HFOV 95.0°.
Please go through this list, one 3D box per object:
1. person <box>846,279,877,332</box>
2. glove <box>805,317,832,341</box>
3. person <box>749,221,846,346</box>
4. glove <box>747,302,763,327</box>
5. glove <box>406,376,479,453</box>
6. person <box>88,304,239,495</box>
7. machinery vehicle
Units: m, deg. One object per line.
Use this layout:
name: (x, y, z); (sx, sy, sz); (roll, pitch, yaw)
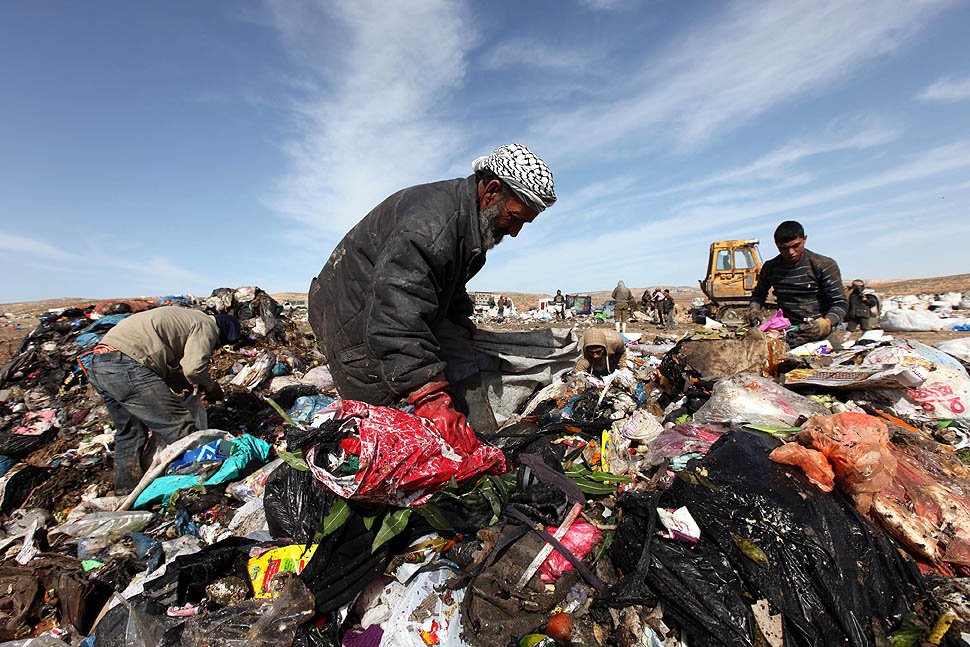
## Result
person: (8.155, -0.402, 9.482); (0.520, 1.087, 0.831); (1, -3, 40)
glove: (3.446, 0.048, 4.529); (0.208, 0.219, 0.113); (1, -3, 37)
person: (3.431, -0.435, 4.898); (0.907, 1.302, 0.762); (1, -3, 43)
glove: (3.270, -0.113, 5.308); (0.092, 0.283, 0.230); (9, -3, 18)
glove: (-0.245, 0.612, 2.917); (0.441, 0.491, 0.181); (-39, 10, -35)
person: (-3.480, 0.748, 4.632); (1.063, 1.803, 0.572); (3, -2, -7)
machinery vehicle: (8.347, -1.376, 14.298); (2.605, 2.350, 1.629); (-3, 7, 12)
